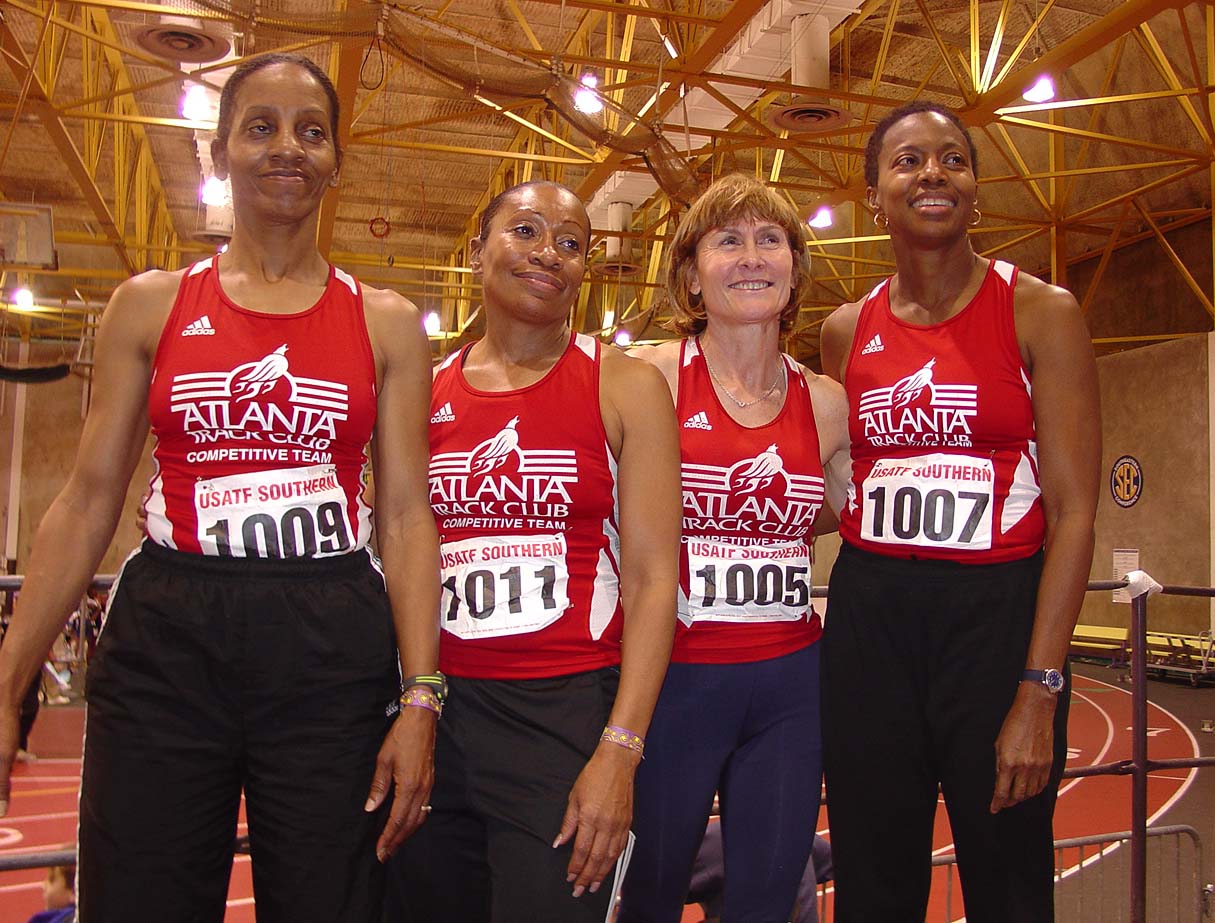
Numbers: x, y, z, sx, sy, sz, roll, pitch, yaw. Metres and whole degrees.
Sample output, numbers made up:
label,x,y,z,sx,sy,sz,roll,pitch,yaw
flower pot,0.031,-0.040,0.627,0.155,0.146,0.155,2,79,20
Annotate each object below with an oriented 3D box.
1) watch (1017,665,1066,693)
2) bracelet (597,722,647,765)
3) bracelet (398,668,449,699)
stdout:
label,x,y,z,sx,sy,sz,roll,pitch,yaw
watch,1.335,0.670,3.147,0.107,0.076,0.114,5,-15,-1
bracelet,0.027,0.788,2.894,0.127,0.103,0.092,-2,-4,17
bracelet,-0.492,0.603,2.785,0.099,0.068,0.101,2,-22,-28
